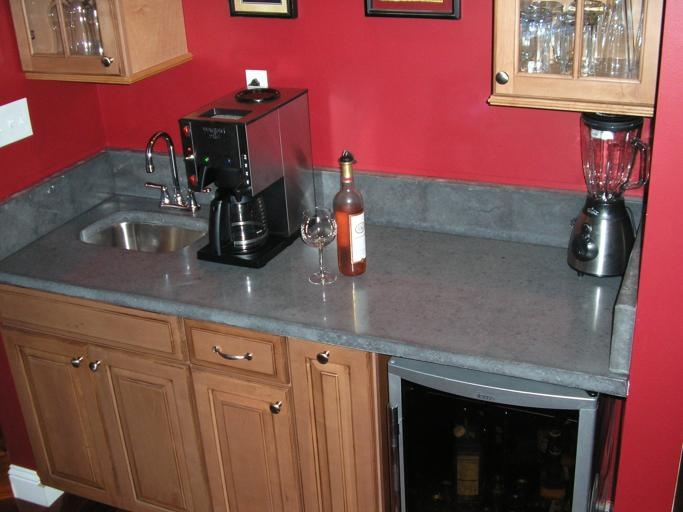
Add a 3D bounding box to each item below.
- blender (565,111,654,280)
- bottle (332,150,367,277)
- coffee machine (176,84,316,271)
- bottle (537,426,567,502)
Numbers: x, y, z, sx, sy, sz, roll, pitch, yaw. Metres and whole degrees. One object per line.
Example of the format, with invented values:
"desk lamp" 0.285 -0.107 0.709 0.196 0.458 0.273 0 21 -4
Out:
"blender" 0.860 -0.208 1.916 0.219 0.518 0.300 8 25 20
"bottle" 0.031 -0.152 2.027 0.111 0.430 0.187 0 24 3
"coffee machine" -0.301 -0.277 2.157 0.495 0.564 0.292 -9 25 -19
"bottle" 0.640 0.632 1.772 0.081 0.287 0.010 7 25 19
